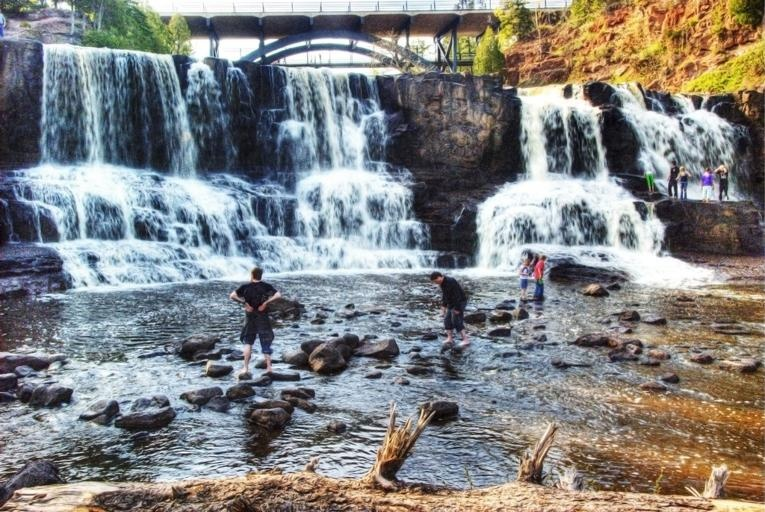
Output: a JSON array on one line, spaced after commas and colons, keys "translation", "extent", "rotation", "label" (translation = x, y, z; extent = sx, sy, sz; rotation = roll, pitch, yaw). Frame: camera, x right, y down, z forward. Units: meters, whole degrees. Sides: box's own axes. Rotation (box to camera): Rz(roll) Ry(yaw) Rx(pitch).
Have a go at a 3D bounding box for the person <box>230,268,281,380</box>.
[{"translation": [-3.437, 1.748, 19.924], "extent": [1.174, 2.830, 0.967], "rotation": [0, 6, -3], "label": "person"}]
